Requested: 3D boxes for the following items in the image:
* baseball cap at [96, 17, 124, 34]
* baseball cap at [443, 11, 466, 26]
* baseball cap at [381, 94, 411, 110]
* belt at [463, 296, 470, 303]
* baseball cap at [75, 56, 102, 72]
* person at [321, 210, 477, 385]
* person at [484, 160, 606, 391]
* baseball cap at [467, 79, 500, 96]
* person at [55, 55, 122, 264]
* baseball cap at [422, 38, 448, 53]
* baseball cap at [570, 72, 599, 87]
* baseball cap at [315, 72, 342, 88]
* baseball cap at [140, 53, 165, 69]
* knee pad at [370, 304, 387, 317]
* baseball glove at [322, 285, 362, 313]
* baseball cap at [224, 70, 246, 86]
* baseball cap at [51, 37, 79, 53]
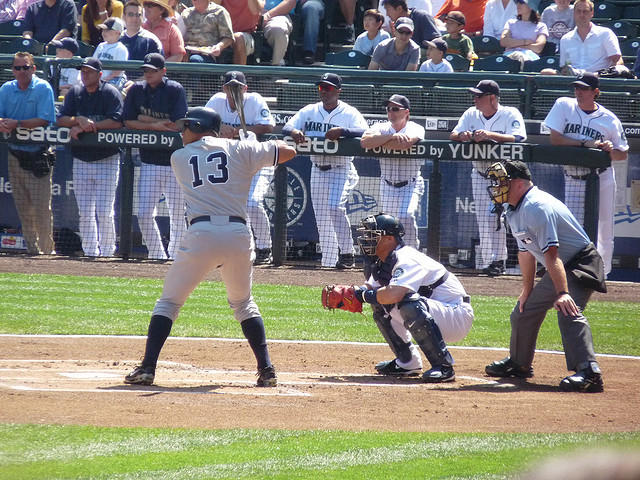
[{"bbox_3d":[-2.919,-2.992,18.592,0.330,0.156,0.213,3,10,-17],"label":"baseball cap"},{"bbox_3d":[1.939,-3.200,19.165,0.318,0.149,0.215,7,7,-9],"label":"baseball cap"},{"bbox_3d":[0.995,-1.741,17.030,0.331,0.151,0.226,22,0,-18],"label":"baseball cap"},{"bbox_3d":[1.502,0.609,13.774,0.038,0.067,0.137,-1,0,22],"label":"belt"},{"bbox_3d":[-2.941,-2.254,17.154,0.210,0.153,0.290,6,-13,45],"label":"baseball cap"},{"bbox_3d":[0.849,0.583,13.723,1.388,1.716,0.860,-1,1,5],"label":"person"},{"bbox_3d":[2.250,0.346,13.413,1.136,2.286,0.590,-1,1,10],"label":"person"},{"bbox_3d":[2.065,-1.940,16.953,0.335,0.147,0.197,0,7,0],"label":"baseball cap"},{"bbox_3d":[-2.968,-1.020,17.499,0.779,1.779,0.573,-1,1,39],"label":"person"},{"bbox_3d":[1.577,-2.682,18.372,0.317,0.106,0.187,11,7,-7],"label":"baseball cap"},{"bbox_3d":[3.268,-1.990,16.549,0.329,0.145,0.212,0,9,-6],"label":"baseball cap"},{"bbox_3d":[0.135,-2.029,17.061,0.208,0.122,0.282,4,0,42],"label":"baseball cap"},{"bbox_3d":[-2.095,-2.272,16.938,0.283,0.141,0.191,3,7,-40],"label":"baseball cap"},{"bbox_3d":[0.580,0.687,13.582,0.143,0.118,0.101,-19,38,2],"label":"knee pad"},{"bbox_3d":[0.244,0.617,13.553,0.354,0.151,0.278,18,-11,-35],"label":"baseball glove"},{"bbox_3d":[-1.070,-2.039,16.765,0.325,0.224,0.464,0,3,3],"label":"baseball cap"},{"bbox_3d":[-3.534,-2.738,18.566,0.331,0.150,0.193,12,22,-23],"label":"baseball cap"}]
